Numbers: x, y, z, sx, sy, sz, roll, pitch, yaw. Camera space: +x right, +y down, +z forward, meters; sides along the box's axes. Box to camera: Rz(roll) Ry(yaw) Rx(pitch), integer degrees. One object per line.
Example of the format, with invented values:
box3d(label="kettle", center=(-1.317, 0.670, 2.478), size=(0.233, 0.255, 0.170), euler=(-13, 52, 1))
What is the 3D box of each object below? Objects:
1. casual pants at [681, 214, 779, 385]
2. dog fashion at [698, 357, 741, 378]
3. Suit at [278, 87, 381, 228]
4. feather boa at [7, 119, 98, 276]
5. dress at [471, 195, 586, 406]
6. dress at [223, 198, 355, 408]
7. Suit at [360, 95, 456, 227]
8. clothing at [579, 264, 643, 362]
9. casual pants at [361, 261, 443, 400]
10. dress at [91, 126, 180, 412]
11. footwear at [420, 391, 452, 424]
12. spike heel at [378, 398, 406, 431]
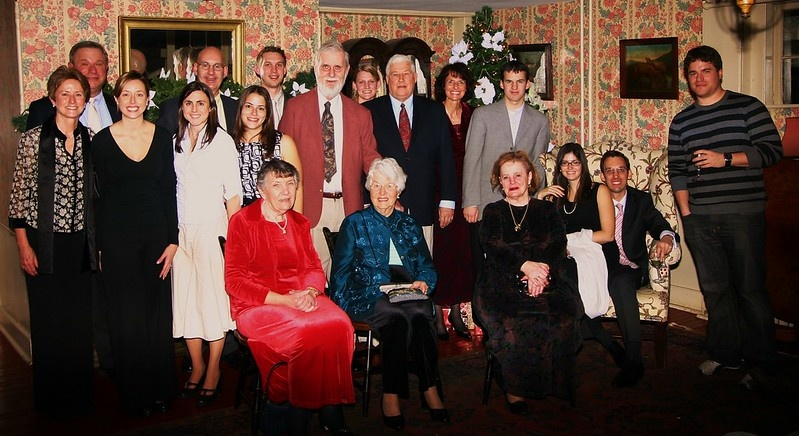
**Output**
box3d(label="casual pants", center=(3.126, 0.695, 5.327), size=(0.757, 1.486, 0.231), euler=(-1, 3, 10))
box3d(label="dog fashion", center=(3.044, 1.448, 5.401), size=(0.439, 0.108, 0.147), euler=(1, 34, -4))
box3d(label="Suit", center=(-0.700, -0.617, 5.545), size=(1.356, 1.190, 0.455), euler=(1, 7, -31))
box3d(label="feather boa", center=(-2.924, -0.179, 4.704), size=(0.694, 1.287, 0.120), euler=(-2, 3, -9))
box3d(label="dress", center=(1.198, 0.638, 5.184), size=(0.975, 1.760, 0.790), euler=(-7, -39, 6))
box3d(label="dress", center=(-0.901, 0.666, 4.543), size=(1.022, 1.620, 0.517), euler=(-2, 3, -6))
box3d(label="Suit", center=(0.064, -0.562, 5.524), size=(1.329, 1.326, 0.736), euler=(-4, 13, -15))
box3d(label="clothing", center=(2.076, 0.938, 5.385), size=(0.625, 0.922, 0.360), euler=(-1, 3, 3))
box3d(label="casual pants", center=(0.017, 0.764, 4.783), size=(0.633, 1.055, 0.677), euler=(-5, 33, -11))
box3d(label="dress", center=(-2.208, 0.349, 4.930), size=(0.663, 2.230, 0.476), euler=(-4, 0, -4))
box3d(label="footwear", center=(0.294, 1.575, 4.741), size=(0.149, 0.165, 0.422), euler=(-6, 10, -29))
box3d(label="spike heel", center=(-0.049, 1.608, 4.673), size=(0.192, 0.268, 0.166), euler=(-1, 3, -1))
